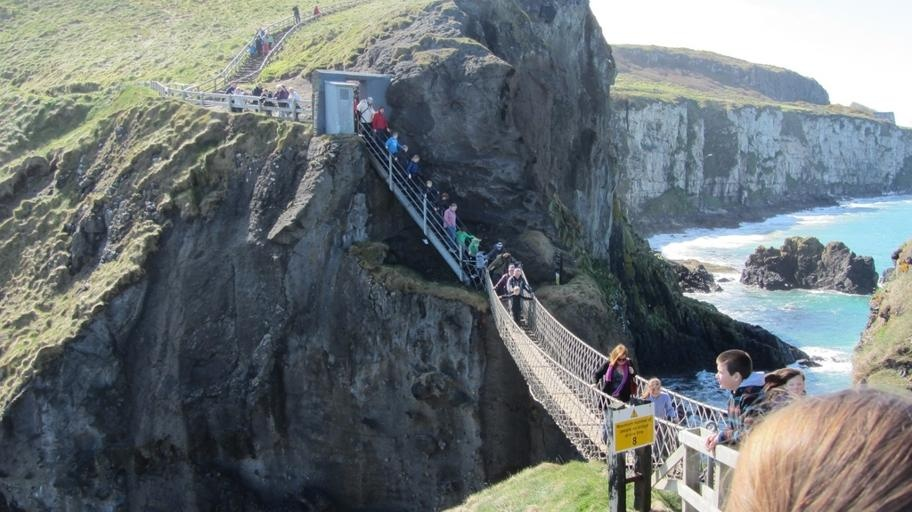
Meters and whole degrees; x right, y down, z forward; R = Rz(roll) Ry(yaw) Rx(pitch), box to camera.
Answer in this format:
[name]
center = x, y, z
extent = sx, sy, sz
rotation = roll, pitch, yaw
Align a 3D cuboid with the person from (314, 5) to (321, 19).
[person]
center = -12.570, -21.920, 86.442
extent = 0.638, 1.006, 1.570
rotation = -5, 9, -7
